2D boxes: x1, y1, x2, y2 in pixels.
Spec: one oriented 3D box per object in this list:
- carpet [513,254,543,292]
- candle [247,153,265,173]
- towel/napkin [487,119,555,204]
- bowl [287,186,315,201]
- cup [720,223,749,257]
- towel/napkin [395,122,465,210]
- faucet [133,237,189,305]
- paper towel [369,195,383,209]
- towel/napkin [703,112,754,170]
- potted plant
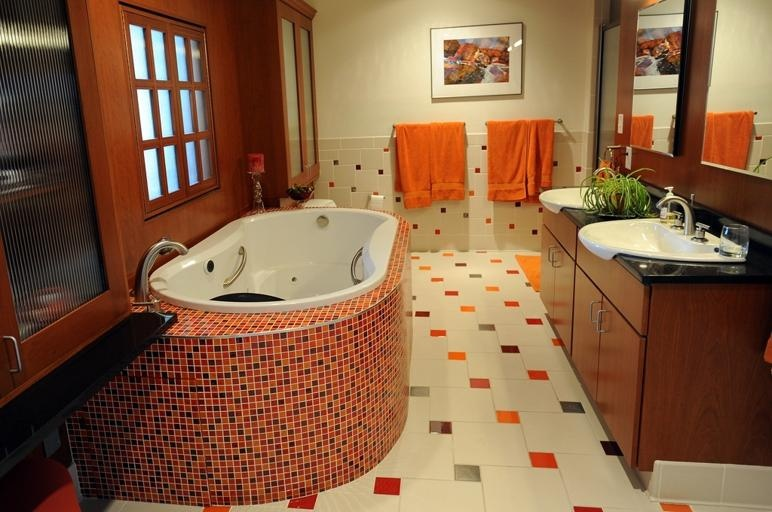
[{"bbox_3d":[1.399,0.236,5.188,0.239,0.010,0.680,2,15,10],"label":"carpet"},{"bbox_3d":[-0.993,-0.731,4.003,0.147,0.163,0.145,-6,19,-23],"label":"candle"},{"bbox_3d":[1.353,-0.963,5.383,0.657,0.850,0.192,1,20,5],"label":"towel/napkin"},{"bbox_3d":[-0.721,-0.528,4.329,0.157,0.085,0.156,-1,14,0],"label":"bowl"},{"bbox_3d":[1.612,-0.069,2.427,0.106,0.155,0.102,1,8,0],"label":"cup"},{"bbox_3d":[0.453,-0.995,5.479,0.849,0.908,0.183,-1,14,0],"label":"towel/napkin"},{"bbox_3d":[-1.148,0.103,2.613,0.275,0.492,0.150,-11,49,-33],"label":"faucet"},{"bbox_3d":[-0.092,-0.512,4.664,0.135,0.127,0.108,2,-10,-4],"label":"paper towel"},{"bbox_3d":[1.798,-0.611,2.758,0.078,0.263,0.244,0,12,-30],"label":"towel/napkin"},{"bbox_3d":[1.480,-0.389,3.281,0.382,0.267,0.406,4,-6,-6],"label":"potted plant"}]
